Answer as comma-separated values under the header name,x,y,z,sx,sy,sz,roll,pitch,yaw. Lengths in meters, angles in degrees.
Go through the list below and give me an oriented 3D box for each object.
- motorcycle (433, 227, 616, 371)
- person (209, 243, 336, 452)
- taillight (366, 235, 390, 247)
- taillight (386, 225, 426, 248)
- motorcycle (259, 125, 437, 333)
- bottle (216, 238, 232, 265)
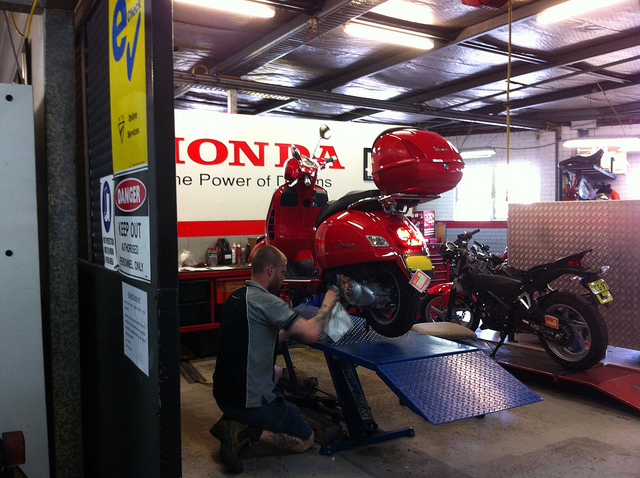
name,x,y,z,sx,sy,sz,roll,pitch,yaw
motorcycle,2.096,0.579,4.937,1.181,1.324,2.411,-5,1,-25
person,-0.355,0.776,2.958,0.733,1.455,0.417,-2,2,-15
taillight,0.448,0.011,3.315,0.158,0.084,0.068,-1,2,5
taillight,0.703,-0.027,3.421,0.347,0.174,0.187,-3,3,-43
motorcycle,0.101,-0.091,4.395,0.972,1.722,2.698,-6,6,-32
bottle,-1.312,0.167,6.028,0.212,0.364,0.100,-2,2,-11
